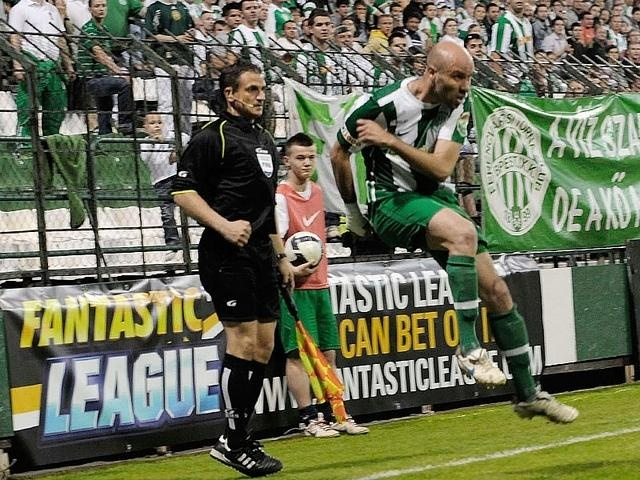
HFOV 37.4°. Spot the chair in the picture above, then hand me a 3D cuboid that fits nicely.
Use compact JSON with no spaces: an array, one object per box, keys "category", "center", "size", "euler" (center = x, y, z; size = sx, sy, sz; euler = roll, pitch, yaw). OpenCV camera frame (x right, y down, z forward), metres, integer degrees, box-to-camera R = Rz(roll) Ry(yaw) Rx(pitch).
[{"category":"chair","center":[-2.002,-0.565,8.414],"size":[1.681,0.574,0.362],"euler":[-2,0,-22]}]

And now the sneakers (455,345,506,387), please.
[{"category":"sneakers","center":[1.121,0.881,6.627],"size":[0.209,0.259,0.401],"euler":[-6,5,-17]}]

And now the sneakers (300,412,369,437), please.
[{"category":"sneakers","center":[0.105,1.588,8.226],"size":[0.690,0.227,0.208],"euler":[-2,1,1]}]

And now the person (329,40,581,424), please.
[{"category":"person","center":[0.874,-0.042,6.926],"size":[1.555,2.822,0.693],"euler":[-1,6,33]}]

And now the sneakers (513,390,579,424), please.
[{"category":"sneakers","center":[1.654,1.206,6.877],"size":[0.526,0.206,0.177],"euler":[0,6,40]}]

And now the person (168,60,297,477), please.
[{"category":"person","center":[-0.560,0.404,6.938],"size":[0.787,2.690,0.395],"euler":[-9,7,-40]}]

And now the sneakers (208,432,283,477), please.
[{"category":"sneakers","center":[-0.535,1.589,7.026],"size":[0.604,0.254,0.223],"euler":[22,-1,-12]}]

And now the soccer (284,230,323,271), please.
[{"category":"soccer","center":[-0.103,0.077,8.289],"size":[0.423,0.337,0.314],"euler":[-1,12,9]}]
